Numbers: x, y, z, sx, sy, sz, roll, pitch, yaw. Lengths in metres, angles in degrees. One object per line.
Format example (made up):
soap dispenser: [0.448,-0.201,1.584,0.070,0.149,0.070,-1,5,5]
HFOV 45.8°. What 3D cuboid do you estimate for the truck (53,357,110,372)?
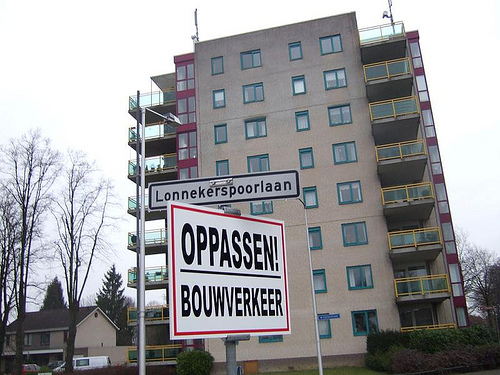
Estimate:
truck: [-17.759,18.945,64.283,4.517,1.815,2.705,12,-28,-21]
